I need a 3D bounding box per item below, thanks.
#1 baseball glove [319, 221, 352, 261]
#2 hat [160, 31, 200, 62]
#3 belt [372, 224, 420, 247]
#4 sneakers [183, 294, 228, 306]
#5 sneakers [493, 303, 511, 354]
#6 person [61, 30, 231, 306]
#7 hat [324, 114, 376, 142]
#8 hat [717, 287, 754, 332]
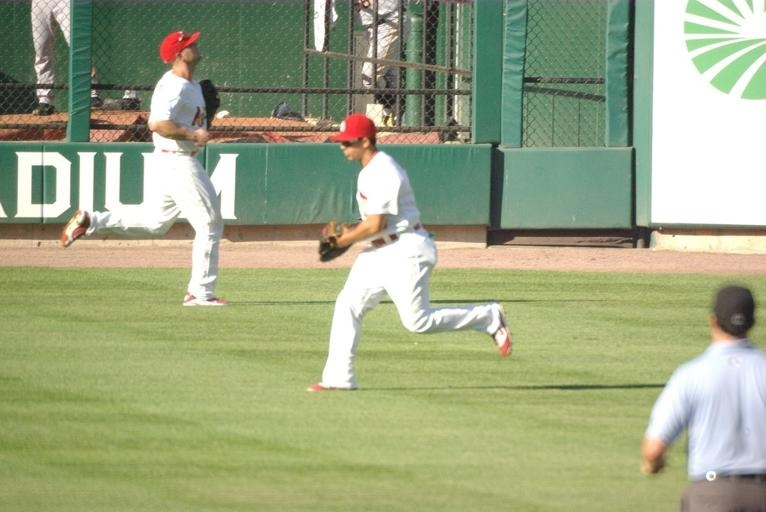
[{"bbox_3d":[-0.631,-0.152,23.090,0.328,0.503,0.311,39,-3,-15],"label":"baseball glove"},{"bbox_3d":[-2.669,-2.710,25.039,0.575,0.210,0.351,-33,38,3],"label":"hat"},{"bbox_3d":[0.109,-0.243,22.636,0.346,0.074,0.341,-26,9,-41],"label":"belt"},{"bbox_3d":[-2.354,0.553,25.114,0.555,0.197,0.188,0,4,-4],"label":"sneakers"},{"bbox_3d":[1.452,0.882,23.074,0.222,0.562,0.251,-2,10,33],"label":"sneakers"},{"bbox_3d":[-2.933,-1.158,25.161,1.731,3.551,1.179,0,6,-19],"label":"person"},{"bbox_3d":[-0.384,-1.509,22.719,0.522,0.222,0.302,-1,10,2],"label":"hat"},{"bbox_3d":[3.702,0.554,20.351,0.414,0.441,0.471,2,-5,6],"label":"hat"}]
